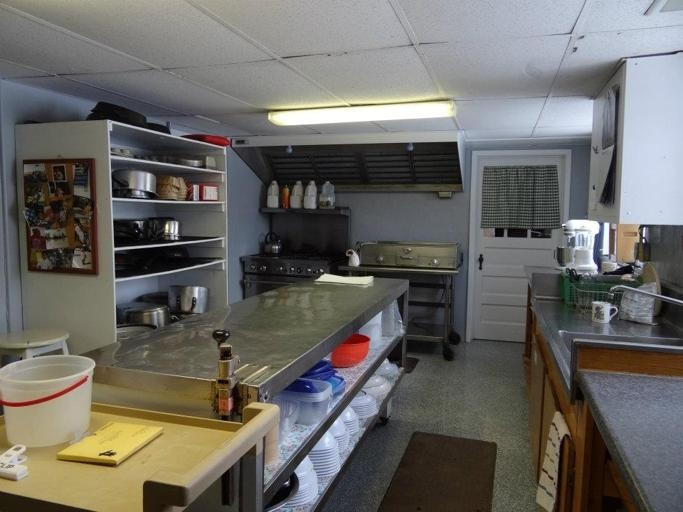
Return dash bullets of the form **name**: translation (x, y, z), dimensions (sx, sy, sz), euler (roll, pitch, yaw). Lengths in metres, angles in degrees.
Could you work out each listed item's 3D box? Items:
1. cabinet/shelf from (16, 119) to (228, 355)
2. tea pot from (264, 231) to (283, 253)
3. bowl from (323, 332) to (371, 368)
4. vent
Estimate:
- **cabinet/shelf**: translation (-1.629, -0.275, 3.845), dimensions (0.999, 1.889, 1.763), euler (1, 3, 21)
- **tea pot**: translation (-0.826, -0.142, 6.057), dimensions (0.185, 0.273, 0.294), euler (4, 5, 26)
- **bowl**: translation (0.040, 0.528, 2.794), dimensions (0.243, 0.114, 0.235), euler (-2, 8, 0)
- **vent**: translation (0.126, -1.012, 5.585), dimensions (2.364, 0.614, 0.992), euler (3, 9, 17)
